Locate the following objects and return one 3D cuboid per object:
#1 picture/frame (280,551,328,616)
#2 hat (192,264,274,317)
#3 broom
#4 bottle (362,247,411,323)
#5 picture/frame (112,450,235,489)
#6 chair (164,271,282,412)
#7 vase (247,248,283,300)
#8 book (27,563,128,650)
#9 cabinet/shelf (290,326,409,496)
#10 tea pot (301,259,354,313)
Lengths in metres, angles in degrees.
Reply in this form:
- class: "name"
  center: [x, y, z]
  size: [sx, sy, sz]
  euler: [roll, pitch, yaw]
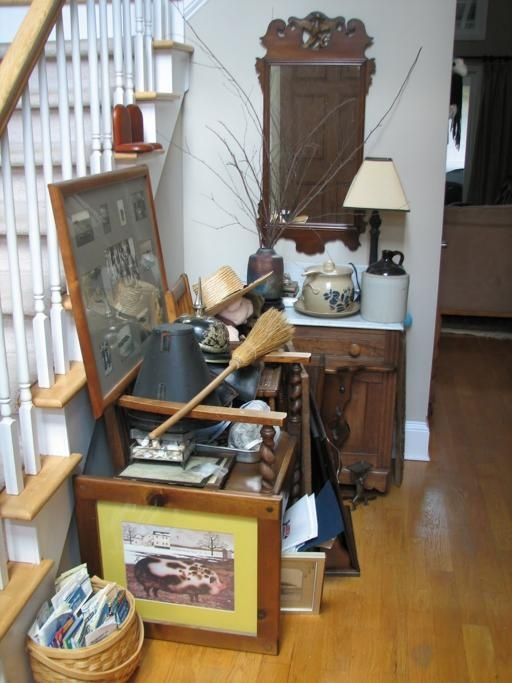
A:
- class: "picture/frame"
  center: [0.137, 0.725, 1.552]
  size: [0.143, 0.211, 0.035]
  euler: [3, 8, -3]
- class: "hat"
  center: [-0.102, -0.190, 1.863]
  size: [0.262, 0.183, 0.241]
  euler: [-8, 19, -28]
- class: "broom"
  center: [-0.047, 0.072, 1.480]
  size: [0.158, 0.133, 0.716]
  euler: [15, 41, 35]
- class: "bottle"
  center: [0.551, -0.228, 2.307]
  size: [0.173, 0.343, 0.165]
  euler: [2, 19, -1]
- class: "picture/frame"
  center: [-0.196, 0.319, 1.325]
  size: [0.261, 0.035, 0.170]
  euler: [2, 10, 6]
- class: "chair"
  center: [-0.145, -0.068, 1.914]
  size: [0.219, 0.317, 0.287]
  euler: [5, 20, 5]
- class: "vase"
  center: [0.016, -0.296, 2.297]
  size: [0.182, 0.278, 0.188]
  euler: [0, 10, -3]
- class: "book"
  center: [-0.396, 0.609, 1.191]
  size: [0.158, 0.151, 0.188]
  euler: [2, 13, 7]
- class: "cabinet/shelf"
  center: [0.449, 0.256, 2.627]
  size: [0.753, 0.806, 0.483]
  euler: [2, 17, 8]
- class: "tea pot"
  center: [0.325, -0.234, 2.303]
  size: [0.242, 0.235, 0.162]
  euler: [1, 10, 0]
